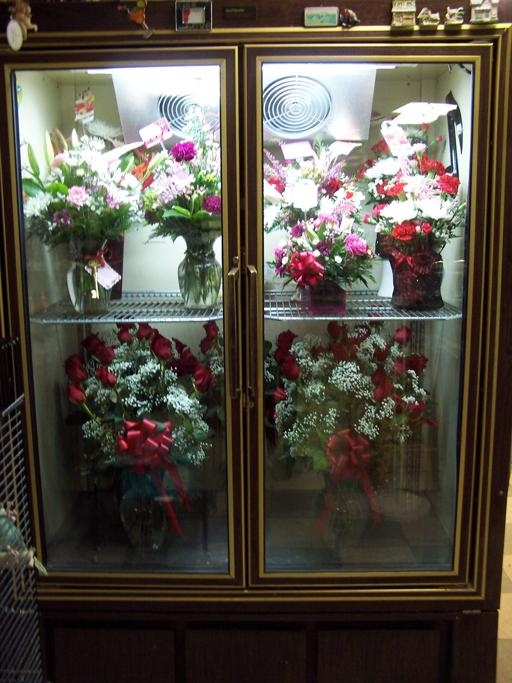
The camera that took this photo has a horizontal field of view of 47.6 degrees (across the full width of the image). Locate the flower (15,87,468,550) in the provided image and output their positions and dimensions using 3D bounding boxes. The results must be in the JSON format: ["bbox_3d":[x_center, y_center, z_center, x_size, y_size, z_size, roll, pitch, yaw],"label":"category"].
[{"bbox_3d":[-0.017,-0.089,1.402,0.946,1.164,0.397,0,16,2],"label":"flower"}]
